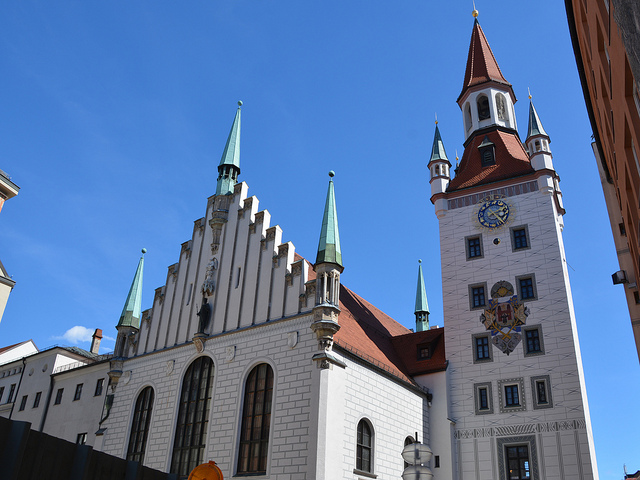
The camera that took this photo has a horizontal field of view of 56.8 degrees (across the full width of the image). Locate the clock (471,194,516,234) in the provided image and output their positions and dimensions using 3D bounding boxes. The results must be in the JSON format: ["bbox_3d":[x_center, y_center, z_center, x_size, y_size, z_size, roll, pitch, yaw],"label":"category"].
[{"bbox_3d":[10.976,-1.594,37.062,2.002,2.062,0.148,32,-5,44],"label":"clock"}]

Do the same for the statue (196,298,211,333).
[{"bbox_3d":[-6.186,3.984,31.664,0.608,2.037,0.448,-1,-30,4],"label":"statue"}]
